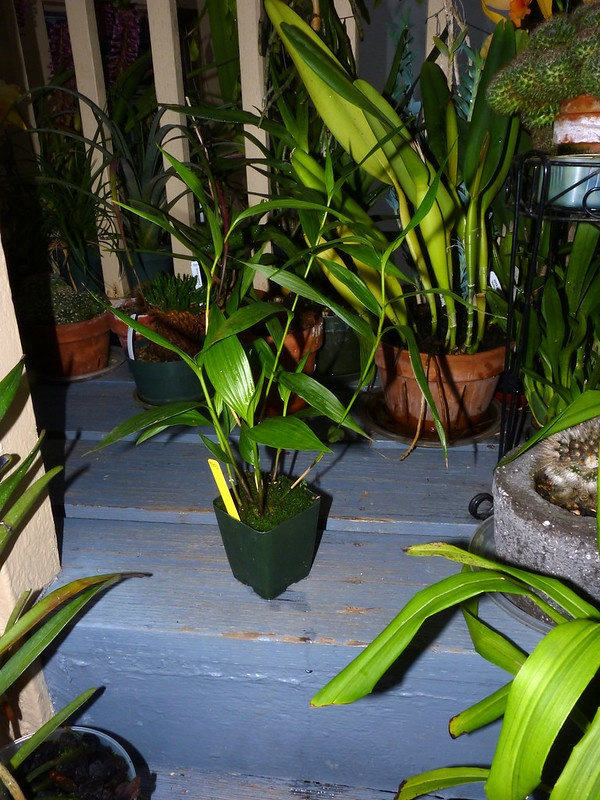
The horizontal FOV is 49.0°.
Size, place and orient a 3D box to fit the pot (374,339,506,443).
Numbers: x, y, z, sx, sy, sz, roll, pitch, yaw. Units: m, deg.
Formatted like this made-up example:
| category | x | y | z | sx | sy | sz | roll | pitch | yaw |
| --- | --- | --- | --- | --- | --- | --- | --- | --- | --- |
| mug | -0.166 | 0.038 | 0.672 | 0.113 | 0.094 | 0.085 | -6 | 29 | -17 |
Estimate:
| category | x | y | z | sx | sy | sz | roll | pitch | yaw |
| --- | --- | --- | --- | --- | --- | --- | --- | --- | --- |
| pot | 0.253 | -0.053 | 1.262 | 0.266 | 0.182 | 0.255 | 6 | 26 | -3 |
